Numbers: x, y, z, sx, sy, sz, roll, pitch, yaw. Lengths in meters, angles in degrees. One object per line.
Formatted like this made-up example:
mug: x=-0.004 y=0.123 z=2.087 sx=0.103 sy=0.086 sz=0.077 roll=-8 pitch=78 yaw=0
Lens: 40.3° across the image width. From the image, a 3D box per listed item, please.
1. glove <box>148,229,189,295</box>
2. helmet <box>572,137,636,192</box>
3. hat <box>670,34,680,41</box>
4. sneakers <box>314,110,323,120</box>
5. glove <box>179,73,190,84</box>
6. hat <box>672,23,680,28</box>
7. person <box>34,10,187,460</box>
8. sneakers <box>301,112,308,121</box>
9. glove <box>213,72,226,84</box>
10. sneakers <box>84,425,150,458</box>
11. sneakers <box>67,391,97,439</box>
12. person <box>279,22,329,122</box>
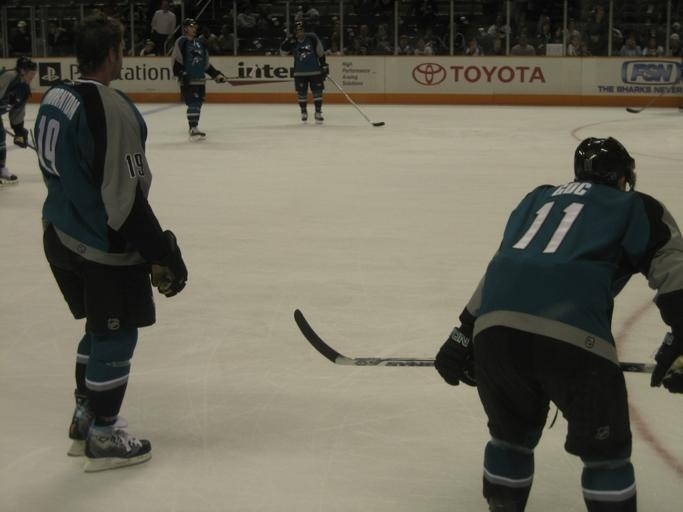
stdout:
glove: x=-0.658 y=0.028 z=3.622 sx=0.141 sy=0.243 sz=0.096 roll=25 pitch=24 yaw=39
helmet: x=0.928 y=-0.297 z=3.319 sx=0.213 sy=0.249 sz=0.278 roll=2 pitch=3 yaw=43
hat: x=5.365 y=-3.542 z=15.042 sx=0.115 sy=0.045 sz=0.118 roll=3 pitch=6 yaw=36
sneakers: x=-0.286 y=-1.811 z=12.107 sx=0.155 sy=0.142 sz=0.077 roll=-3 pitch=12 yaw=-17
glove: x=-1.815 y=-2.042 z=10.709 sx=0.104 sy=0.130 sz=0.039 roll=0 pitch=-5 yaw=-3
hat: x=5.384 y=-3.713 z=15.012 sx=0.089 sy=0.049 sz=0.090 roll=13 pitch=40 yaw=27
person: x=-0.903 y=-0.061 z=3.673 sx=0.520 sy=1.719 sz=0.487 roll=-5 pitch=17 yaw=-18
sneakers: x=-0.491 y=-1.819 z=12.138 sx=0.073 sy=0.138 sz=0.271 roll=-1 pitch=15 yaw=-5
glove: x=-1.536 y=-2.220 z=11.682 sx=0.181 sy=0.114 sz=0.241 roll=-1 pitch=2 yaw=-1
sneakers: x=-0.886 y=0.724 z=3.657 sx=0.244 sy=0.130 sz=0.115 roll=0 pitch=4 yaw=-16
sneakers: x=-1.060 y=0.663 z=3.837 sx=0.084 sy=0.176 sz=0.188 roll=6 pitch=-9 yaw=6
person: x=-0.501 y=-2.470 z=12.449 sx=0.655 sy=1.389 sz=0.445 roll=-3 pitch=-14 yaw=0
